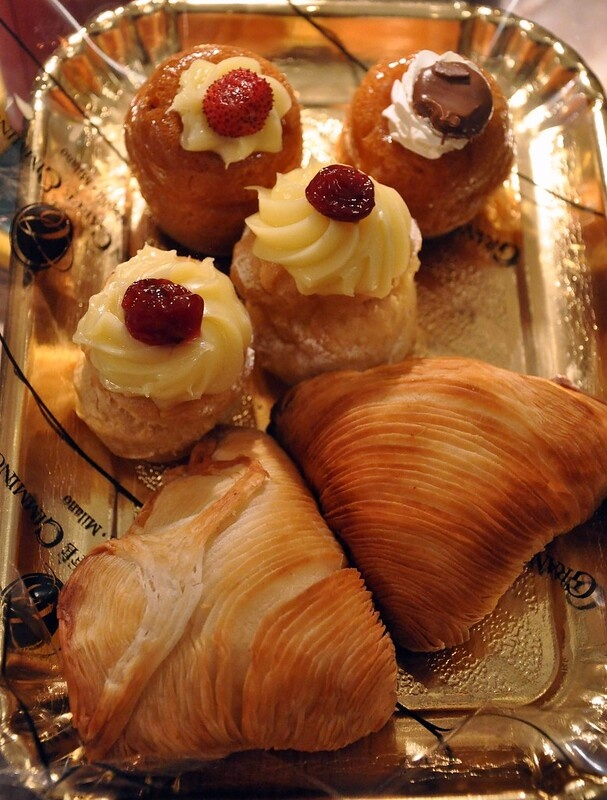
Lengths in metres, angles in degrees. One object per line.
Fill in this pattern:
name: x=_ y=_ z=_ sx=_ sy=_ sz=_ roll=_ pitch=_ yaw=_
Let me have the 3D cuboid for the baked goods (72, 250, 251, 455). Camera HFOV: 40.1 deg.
baked goods: x=-0.295 y=-0.064 z=1.827 sx=0.462 sy=0.429 sz=0.423 roll=-4 pitch=63 yaw=-7

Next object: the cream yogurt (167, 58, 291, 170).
cream yogurt: x=-0.183 y=-0.669 z=1.930 sx=0.234 sy=0.146 sz=0.247 roll=-13 pitch=68 yaw=-3

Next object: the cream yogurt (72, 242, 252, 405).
cream yogurt: x=-0.298 y=-0.150 z=1.787 sx=0.356 sy=0.197 sz=0.317 roll=-18 pitch=68 yaw=-5

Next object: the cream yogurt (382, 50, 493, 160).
cream yogurt: x=0.333 y=-0.726 z=2.029 sx=0.250 sy=0.100 sz=0.276 roll=18 pitch=69 yaw=9

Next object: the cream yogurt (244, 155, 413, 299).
cream yogurt: x=0.074 y=-0.333 z=1.744 sx=0.353 sy=0.103 sz=0.286 roll=-2 pitch=70 yaw=-14

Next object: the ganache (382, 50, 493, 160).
ganache: x=0.325 y=-0.700 z=1.958 sx=0.274 sy=0.082 sz=0.242 roll=-11 pitch=88 yaw=5
